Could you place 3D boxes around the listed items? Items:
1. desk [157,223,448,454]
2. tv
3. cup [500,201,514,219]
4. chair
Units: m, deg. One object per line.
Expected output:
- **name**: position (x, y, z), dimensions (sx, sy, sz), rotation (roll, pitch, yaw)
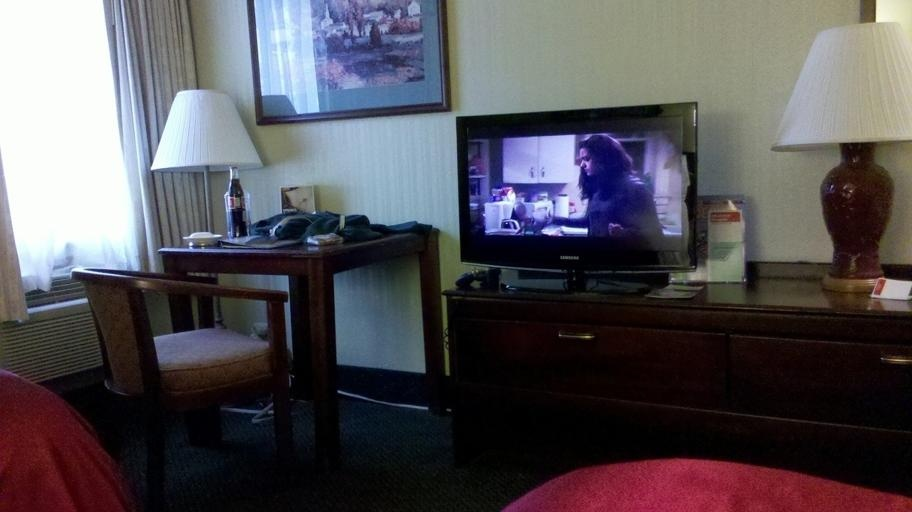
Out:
- **desk**: position (-0.754, 0.467, 4.171), dimensions (1.440, 1.197, 1.388), rotation (0, 4, 25)
- **tv**: position (0.636, -0.283, 3.369), dimensions (1.096, 0.700, 0.301), rotation (0, 7, 13)
- **cup**: position (0.261, -0.237, 3.518), dimensions (0.091, 0.113, 0.082), rotation (2, 8, 10)
- **chair**: position (-1.311, 0.420, 3.567), dimensions (1.091, 1.063, 1.059), rotation (-6, 9, -41)
